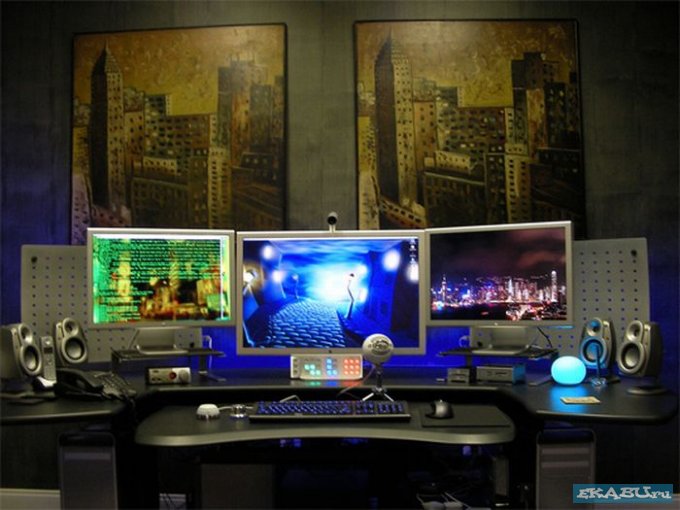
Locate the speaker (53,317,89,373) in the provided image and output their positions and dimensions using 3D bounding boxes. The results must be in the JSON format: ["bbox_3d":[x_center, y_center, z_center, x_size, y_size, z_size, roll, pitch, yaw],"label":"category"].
[{"bbox_3d":[-1.376,0.455,3.667,0.134,0.249,0.165,3,5,45],"label":"speaker"}]

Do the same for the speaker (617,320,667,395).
[{"bbox_3d":[1.481,0.493,3.519,0.207,0.318,0.353,1,4,17],"label":"speaker"}]

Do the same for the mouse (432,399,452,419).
[{"bbox_3d":[0.465,0.703,3.260,0.090,0.064,0.067,0,4,9],"label":"mouse"}]

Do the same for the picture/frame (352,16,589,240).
[{"bbox_3d":[0.706,-0.778,4.116,1.250,1.360,0.020,1,-23,7],"label":"picture/frame"}]

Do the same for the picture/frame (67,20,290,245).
[{"bbox_3d":[-0.883,-0.663,4.114,1.190,1.292,0.060,0,-2,0],"label":"picture/frame"}]

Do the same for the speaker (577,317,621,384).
[{"bbox_3d":[1.319,0.482,3.608,0.174,0.298,0.256,0,4,9],"label":"speaker"}]
